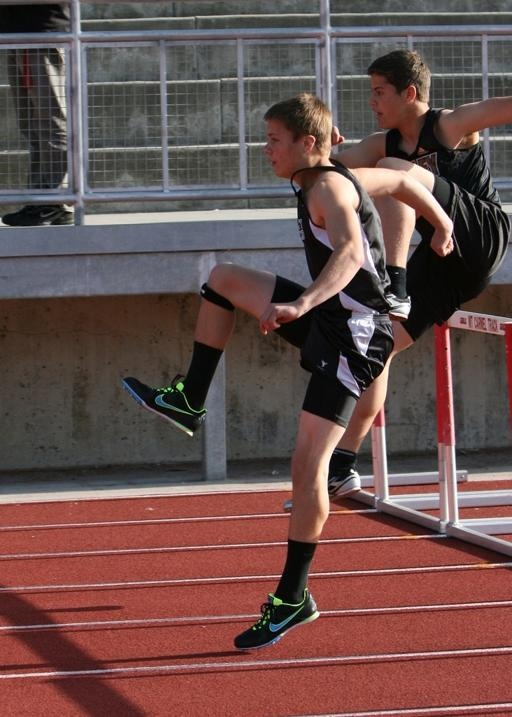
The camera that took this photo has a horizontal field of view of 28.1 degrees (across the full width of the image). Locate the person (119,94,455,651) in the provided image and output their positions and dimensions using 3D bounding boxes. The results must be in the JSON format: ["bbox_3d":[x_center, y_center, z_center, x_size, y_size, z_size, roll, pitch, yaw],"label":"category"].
[{"bbox_3d":[0.155,0.019,3.328,0.672,1.724,0.763,0,4,-28],"label":"person"}]

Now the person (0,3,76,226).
[{"bbox_3d":[-1.295,-1.442,5.984,0.450,1.357,0.420,1,4,-13],"label":"person"}]

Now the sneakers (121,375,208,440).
[{"bbox_3d":[-0.303,0.128,3.613,0.356,0.149,0.108,31,10,25],"label":"sneakers"}]

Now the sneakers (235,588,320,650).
[{"bbox_3d":[0.058,0.801,3.079,0.248,0.189,0.104,1,4,-2],"label":"sneakers"}]

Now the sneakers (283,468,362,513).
[{"bbox_3d":[0.270,0.451,3.616,0.127,0.137,0.351,-4,3,-4],"label":"sneakers"}]
